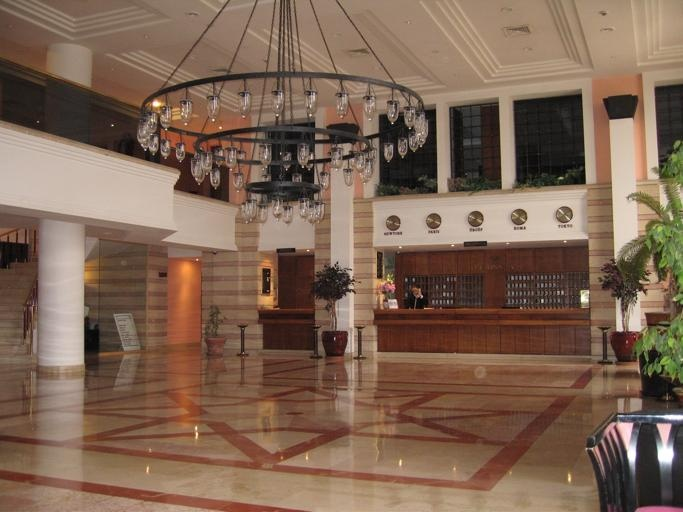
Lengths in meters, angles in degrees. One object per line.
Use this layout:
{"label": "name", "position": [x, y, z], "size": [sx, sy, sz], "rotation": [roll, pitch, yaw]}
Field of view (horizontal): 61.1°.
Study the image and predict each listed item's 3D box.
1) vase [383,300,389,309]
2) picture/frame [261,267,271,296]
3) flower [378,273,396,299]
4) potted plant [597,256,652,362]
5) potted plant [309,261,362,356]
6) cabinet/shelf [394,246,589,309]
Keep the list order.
{"label": "vase", "position": [1.238, 1.326, 16.184], "size": [0.173, 0.330, 0.173], "rotation": [3, -6, -22]}
{"label": "picture/frame", "position": [-2.296, 0.740, 17.780], "size": [0.098, 0.833, 0.547], "rotation": [-2, -4, 18]}
{"label": "flower", "position": [1.321, 0.844, 16.616], "size": [0.458, 0.691, 1.069], "rotation": [-1, -4, 5]}
{"label": "potted plant", "position": [6.326, 1.191, 12.985], "size": [0.960, 2.381, 2.216], "rotation": [-2, -4, 24]}
{"label": "potted plant", "position": [-0.208, 1.402, 15.585], "size": [1.092, 2.535, 1.366], "rotation": [-1, -4, 5]}
{"label": "cabinet/shelf", "position": [4.590, 0.583, 16.102], "size": [4.144, 1.627, 0.399], "rotation": [-1, -4, 16]}
